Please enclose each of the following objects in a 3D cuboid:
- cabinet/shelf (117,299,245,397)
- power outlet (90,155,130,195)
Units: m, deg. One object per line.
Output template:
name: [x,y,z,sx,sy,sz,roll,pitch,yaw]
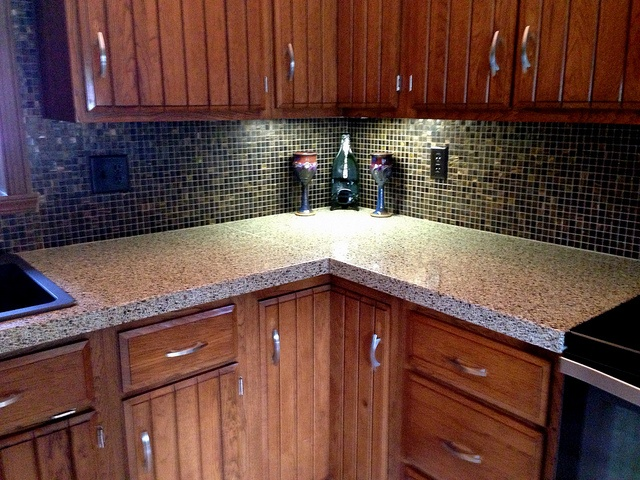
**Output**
cabinet/shelf: [-0.416,0.406,1.642,0.362,0.221,0.211,-17,55,-8]
power outlet: [-0.818,-0.257,1.923,0.148,0.144,0.018,-8,16,-31]
